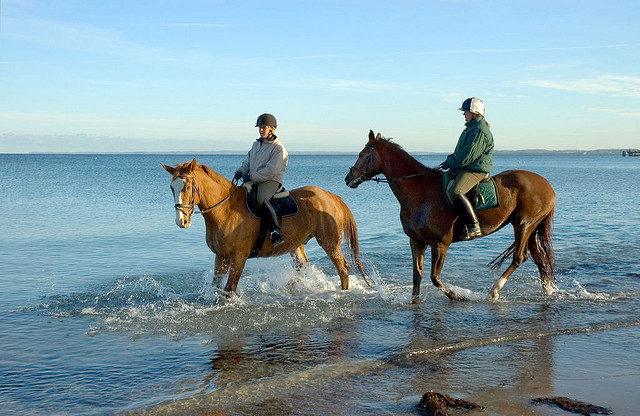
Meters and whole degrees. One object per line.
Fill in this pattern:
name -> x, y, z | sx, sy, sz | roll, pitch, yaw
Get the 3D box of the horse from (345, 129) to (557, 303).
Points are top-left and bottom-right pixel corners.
horse -> 3.231, 0.258, 14.032 | 6.147, 3.619, 1.648 | 2, -1, -21

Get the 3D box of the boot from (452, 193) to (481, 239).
boot -> 3.293, 0.164, 13.227 | 0.649, 1.064, 0.316 | 0, 10, 5

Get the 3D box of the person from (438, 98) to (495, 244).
person -> 3.335, -0.832, 13.211 | 1.065, 3.231, 0.663 | -6, 12, -27

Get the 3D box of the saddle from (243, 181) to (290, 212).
saddle -> -1.288, -0.366, 13.552 | 1.587, 0.773, 0.393 | 1, -10, -39
